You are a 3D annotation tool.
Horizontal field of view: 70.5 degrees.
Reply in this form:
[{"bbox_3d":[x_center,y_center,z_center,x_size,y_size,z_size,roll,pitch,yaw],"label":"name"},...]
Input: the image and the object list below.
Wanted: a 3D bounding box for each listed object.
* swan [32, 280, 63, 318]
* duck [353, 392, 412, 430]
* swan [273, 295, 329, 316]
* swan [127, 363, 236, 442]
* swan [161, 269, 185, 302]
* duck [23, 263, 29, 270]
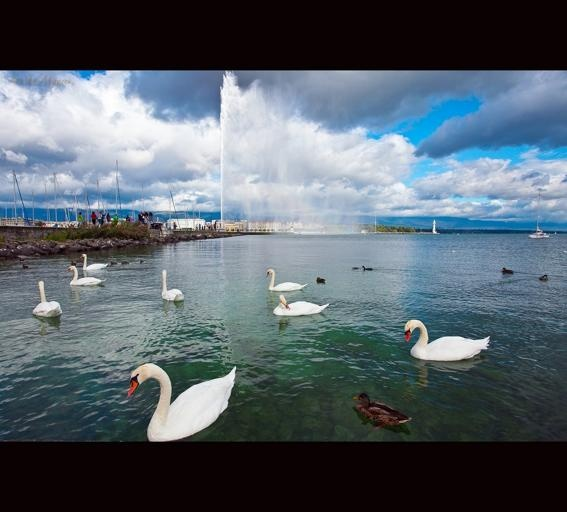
[{"bbox_3d":[-8.165,1.603,13.927,1.740,1.372,0.825,0,-1,41],"label":"swan"},{"bbox_3d":[1.863,3.088,7.873,1.206,0.469,0.446,8,11,38],"label":"duck"},{"bbox_3d":[0.574,1.924,14.673,1.708,0.802,0.880,1,-8,-6],"label":"swan"},{"bbox_3d":[-1.882,2.573,7.547,2.123,1.528,0.751,-7,11,-41],"label":"swan"},{"bbox_3d":[-4.728,1.315,16.833,1.254,1.265,0.580,9,12,43],"label":"swan"},{"bbox_3d":[-16.455,0.746,25.657,0.153,0.372,0.514,4,11,-18],"label":"duck"}]
